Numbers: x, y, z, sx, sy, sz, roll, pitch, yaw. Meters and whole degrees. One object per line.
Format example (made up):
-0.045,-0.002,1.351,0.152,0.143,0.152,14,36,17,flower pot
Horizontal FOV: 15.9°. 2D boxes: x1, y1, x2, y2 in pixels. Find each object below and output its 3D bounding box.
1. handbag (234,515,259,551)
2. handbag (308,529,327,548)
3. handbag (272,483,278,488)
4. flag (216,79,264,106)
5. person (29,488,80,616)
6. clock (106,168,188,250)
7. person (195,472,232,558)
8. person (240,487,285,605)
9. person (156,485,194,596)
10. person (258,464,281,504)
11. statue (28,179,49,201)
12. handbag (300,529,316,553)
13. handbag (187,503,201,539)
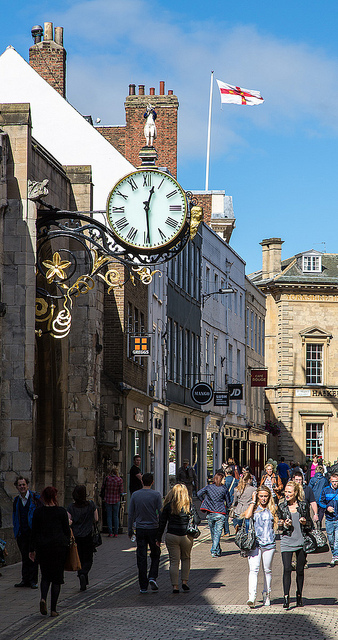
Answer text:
0.920,2.583,14.435,0.224,0.382,0.373,3,-4,-27,handbag
1.814,2.674,14.742,0.150,0.245,0.057,4,-13,-40,handbag
2.206,3.461,25.080,0.111,0.140,0.168,-1,-7,-1,handbag
2.745,-8.730,46.458,1.613,1.077,1.646,2,-4,0,flag
-1.317,2.653,13.773,0.561,1.400,1.106,2,-3,-6,person
-0.306,-1.564,16.907,1.141,1.198,0.304,1,-3,4,clock
0.820,3.451,21.460,0.555,1.468,0.544,-1,11,-14,person
1.144,2.733,14.434,0.477,1.392,0.831,1,-3,5,person
0.077,2.825,15.534,0.471,1.380,0.783,1,-3,-3,person
2.144,3.580,24.996,0.405,1.195,0.425,-4,15,15,person
-2.145,-2.120,19.623,0.312,0.375,0.389,2,-4,-8,statue
1.684,2.687,14.590,0.103,0.266,0.243,-10,-12,12,handbag
0.313,2.595,15.490,0.142,0.444,0.348,1,-4,5,handbag
